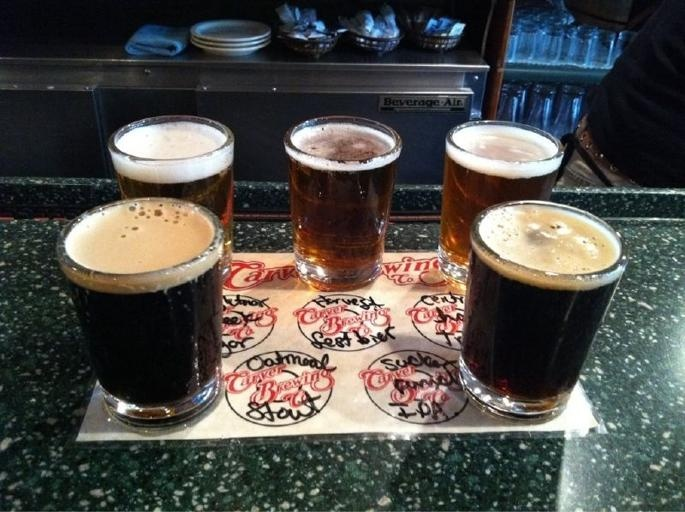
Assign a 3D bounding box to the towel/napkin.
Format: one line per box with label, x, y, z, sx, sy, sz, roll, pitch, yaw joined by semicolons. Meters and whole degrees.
towel/napkin;-0.903;-1.055;2.613;0.307;0.083;0.246;5;39;13
